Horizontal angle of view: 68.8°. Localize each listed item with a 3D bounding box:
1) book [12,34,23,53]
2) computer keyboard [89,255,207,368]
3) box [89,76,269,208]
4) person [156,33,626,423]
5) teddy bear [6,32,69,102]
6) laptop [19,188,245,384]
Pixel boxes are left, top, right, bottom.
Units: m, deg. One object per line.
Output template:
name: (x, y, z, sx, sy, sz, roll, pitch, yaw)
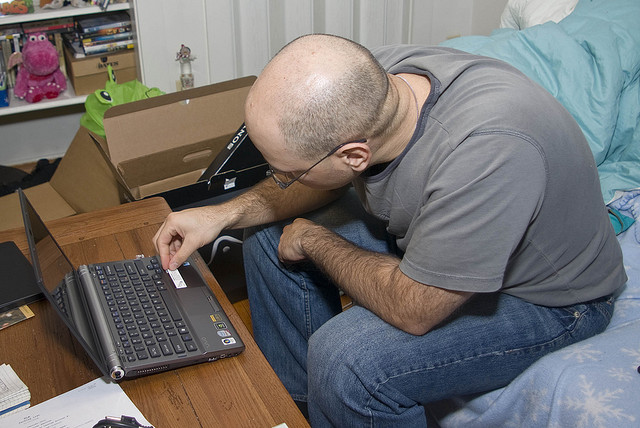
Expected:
book: (-1.621, -0.916, 2.509, 0.042, 0.074, 0.075, -11, 43, -19)
computer keyboard: (-0.432, 0.224, 1.138, 0.212, 0.040, 0.381, 1, 29, -38)
box: (-0.488, -0.192, 1.967, 0.684, 0.290, 0.541, -18, 44, -8)
person: (0.234, 0.060, 1.218, 0.999, 1.003, 0.575, -15, 51, 7)
teddy bear: (-1.541, -0.795, 2.534, 0.195, 0.314, 0.282, 33, 39, 33)
laptop: (-0.450, 0.123, 1.111, 0.439, 0.287, 0.482, -8, 26, -34)
